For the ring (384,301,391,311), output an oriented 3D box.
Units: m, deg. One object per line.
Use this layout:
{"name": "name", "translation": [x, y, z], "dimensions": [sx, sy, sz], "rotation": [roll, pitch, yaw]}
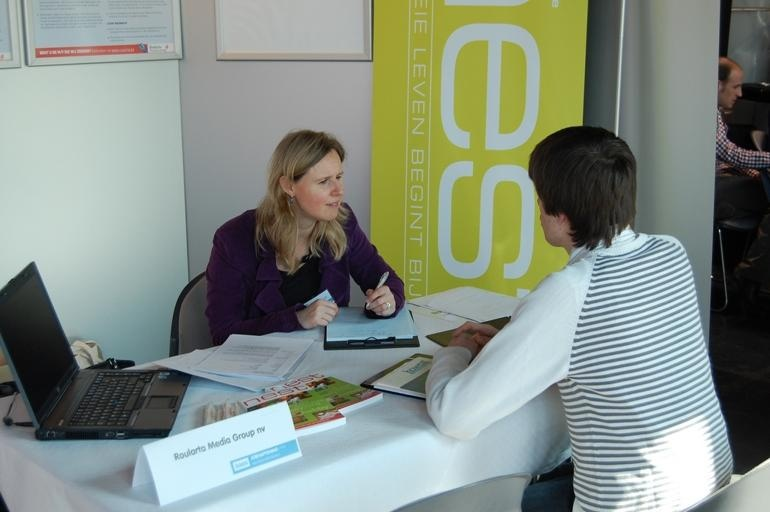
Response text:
{"name": "ring", "translation": [0.010, 0.202, 2.393], "dimensions": [0.018, 0.024, 0.022], "rotation": [3, -7, -28]}
